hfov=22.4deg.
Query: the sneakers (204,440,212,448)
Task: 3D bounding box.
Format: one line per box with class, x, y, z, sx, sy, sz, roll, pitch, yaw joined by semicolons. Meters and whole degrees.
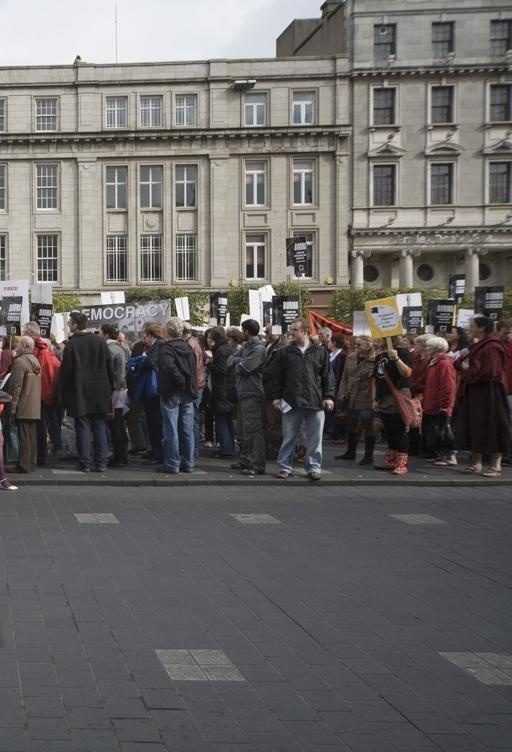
sneakers;-0.656;0.923;17.429;0.088;0.058;0.160;-1;2;-10
